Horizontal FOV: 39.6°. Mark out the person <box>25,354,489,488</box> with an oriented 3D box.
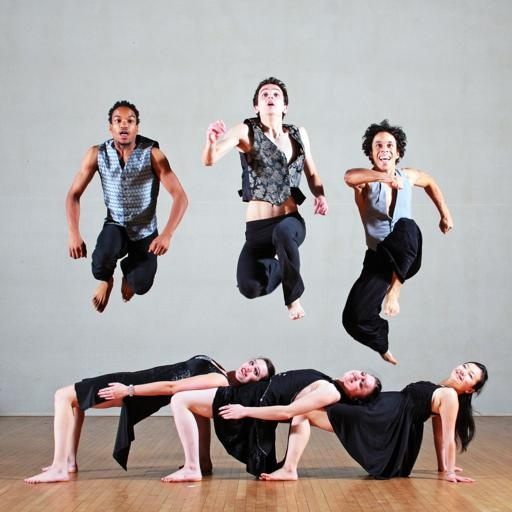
[{"bbox_3d":[0.128,0.929,4.506,2.861,0.923,0.930,2,-12,1],"label":"person"}]
